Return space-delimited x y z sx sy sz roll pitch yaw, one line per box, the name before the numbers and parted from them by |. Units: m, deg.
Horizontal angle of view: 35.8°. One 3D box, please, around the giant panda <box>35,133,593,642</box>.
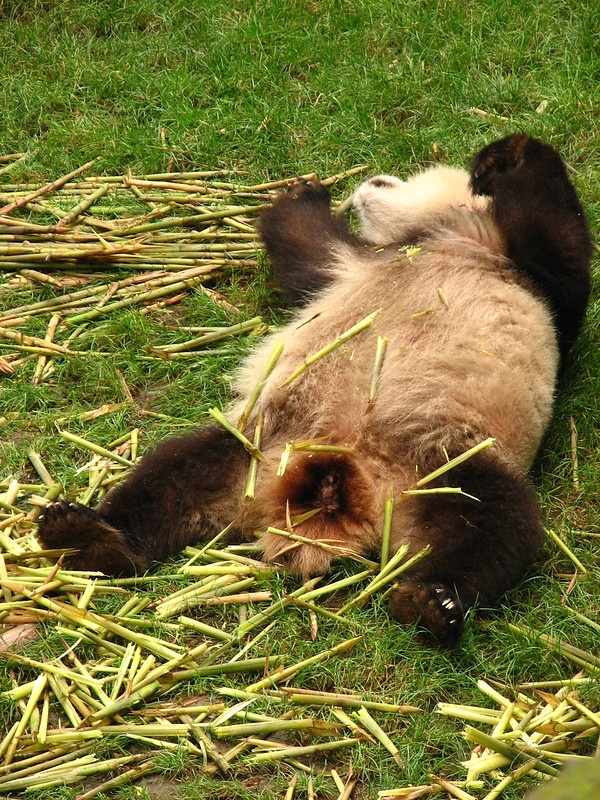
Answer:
giant panda | 0.576 -0.181 4.152 1.902 0.898 2.567 11 51 29
